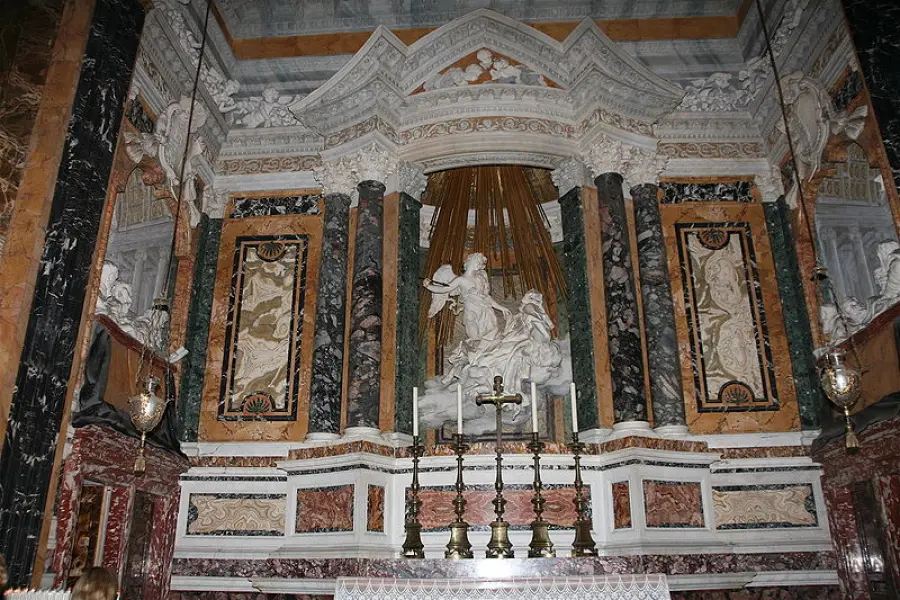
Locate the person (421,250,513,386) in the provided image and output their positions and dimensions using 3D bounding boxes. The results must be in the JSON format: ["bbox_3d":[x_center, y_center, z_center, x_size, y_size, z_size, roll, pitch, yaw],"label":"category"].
[{"bbox_3d":[0.180,0.312,9.655,1.432,1.855,0.736,3,-30,-18],"label":"person"}]
